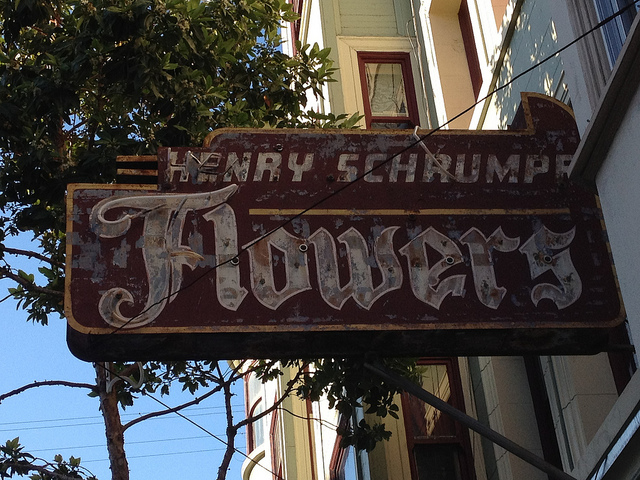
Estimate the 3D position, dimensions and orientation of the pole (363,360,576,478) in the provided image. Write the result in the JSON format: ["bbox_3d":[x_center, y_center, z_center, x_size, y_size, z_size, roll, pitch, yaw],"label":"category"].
[{"bbox_3d":[2.548,3.093,17.388,3.599,0.546,0.810,33,-38,7],"label":"pole"}]
